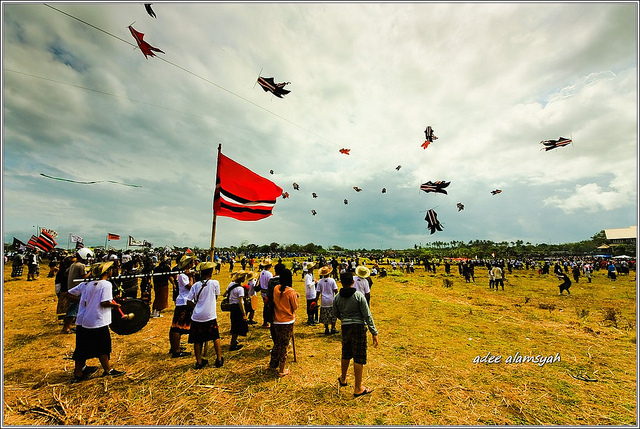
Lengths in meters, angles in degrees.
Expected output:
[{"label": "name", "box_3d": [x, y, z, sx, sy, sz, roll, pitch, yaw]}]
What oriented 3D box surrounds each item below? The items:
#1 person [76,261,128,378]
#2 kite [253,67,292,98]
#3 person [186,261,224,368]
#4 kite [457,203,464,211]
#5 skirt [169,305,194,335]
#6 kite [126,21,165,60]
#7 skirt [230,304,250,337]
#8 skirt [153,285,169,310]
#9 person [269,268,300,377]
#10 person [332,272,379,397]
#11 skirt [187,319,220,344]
[{"label": "person", "box_3d": [-7.463, 3.548, 12.126, 1.326, 3.904, 1.157, 3, -5, -31]}, {"label": "kite", "box_3d": [-2.060, -5.664, 15.843, 1.681, 0.505, 1.377, 11, -39, -44]}, {"label": "person", "box_3d": [-4.046, 3.506, 12.609, 1.274, 3.695, 0.890, 2, -4, -19]}, {"label": "kite", "box_3d": [4.259, -0.241, 10.723, 0.070, 0.246, 0.257, -5, -19, 34]}, {"label": "skirt", "box_3d": [-4.958, 3.797, 12.940, 1.113, 1.145, 0.376, -2, -5, 38]}, {"label": "kite", "box_3d": [-6.669, -6.424, 13.363, 0.699, 1.342, 1.647, 3, -4, -25]}, {"label": "skirt", "box_3d": [-3.094, 3.980, 13.535, 0.643, 1.265, 0.659, 1, -4, -6]}, {"label": "skirt", "box_3d": [-7.484, 3.867, 16.766, 0.572, 1.201, 0.690, 3, -4, -28]}, {"label": "person", "box_3d": [-1.204, 3.674, 12.148, 0.960, 3.665, 0.589, 0, -4, 16]}, {"label": "person", "box_3d": [1.129, 3.874, 11.622, 1.337, 3.957, 0.371, -1, -4, 21]}, {"label": "skirt", "box_3d": [-4.057, 4.014, 12.371, 1.170, 0.978, 0.589, 2, -2, -12]}]
